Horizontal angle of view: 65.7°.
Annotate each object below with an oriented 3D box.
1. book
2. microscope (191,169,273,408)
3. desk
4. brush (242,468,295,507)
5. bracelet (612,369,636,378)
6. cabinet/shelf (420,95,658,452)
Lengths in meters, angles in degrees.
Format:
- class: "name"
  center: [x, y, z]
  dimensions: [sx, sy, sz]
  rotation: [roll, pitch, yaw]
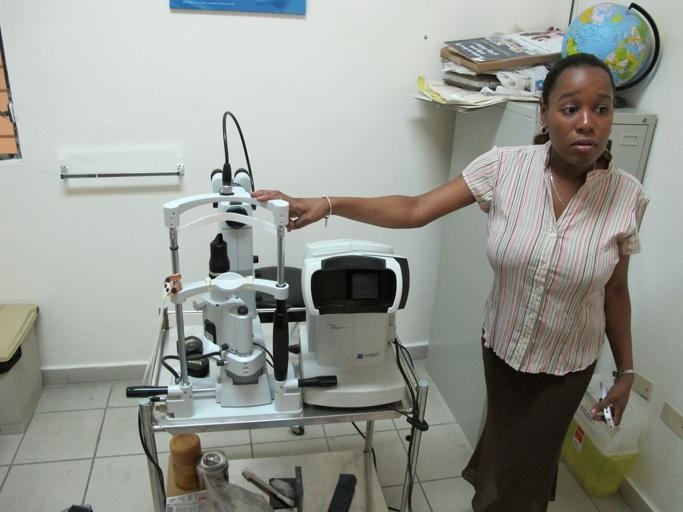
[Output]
- class: "book"
  center: [0.780, -0.957, 2.680]
  dimensions: [0.615, 0.205, 0.483]
  rotation: [-11, 40, -12]
- class: "microscope"
  center: [-0.378, 0.105, 1.972]
  dimensions: [0.266, 0.761, 0.420]
  rotation: [-4, 16, -26]
- class: "desk"
  center: [-0.318, 0.587, 2.308]
  dimensions: [0.987, 0.980, 0.859]
  rotation: [3, 21, -13]
- class: "brush"
  center: [-0.314, 1.008, 2.290]
  dimensions: [0.196, 0.038, 0.048]
  rotation: [32, 12, 30]
- class: "bracelet"
  center: [1.063, 0.448, 2.000]
  dimensions: [0.051, 0.021, 0.051]
  rotation: [-8, 5, -13]
- class: "cabinet/shelf"
  center: [0.955, 0.107, 2.921]
  dimensions: [0.842, 1.832, 0.697]
  rotation: [-3, 21, -7]
